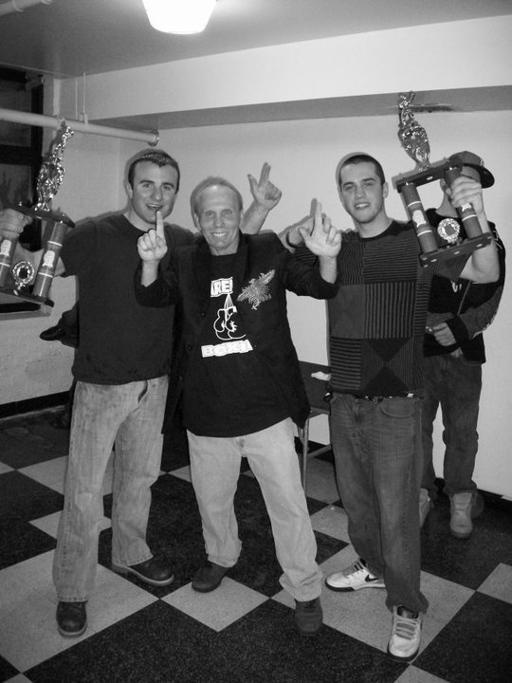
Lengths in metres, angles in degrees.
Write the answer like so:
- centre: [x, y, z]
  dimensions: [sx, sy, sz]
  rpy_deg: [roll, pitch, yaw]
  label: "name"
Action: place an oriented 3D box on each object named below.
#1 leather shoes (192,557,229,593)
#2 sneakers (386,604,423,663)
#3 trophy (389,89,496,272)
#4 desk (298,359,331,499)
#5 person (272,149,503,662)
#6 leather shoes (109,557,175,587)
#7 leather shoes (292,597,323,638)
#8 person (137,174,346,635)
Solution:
- centre: [-0.163, 0.870, 2.037]
  dimensions: [0.058, 0.061, 0.149]
  rpy_deg: [16, 0, 20]
  label: "leather shoes"
- centre: [0.468, 0.896, 1.718]
  dimensions: [0.094, 0.109, 0.191]
  rpy_deg: [4, 7, 21]
  label: "sneakers"
- centre: [0.458, -0.444, 1.473]
  dimensions: [0.175, 0.544, 0.069]
  rpy_deg: [-15, -26, 9]
  label: "trophy"
- centre: [0.309, 0.473, 2.797]
  dimensions: [0.218, 0.683, 0.254]
  rpy_deg: [3, 16, -9]
  label: "desk"
- centre: [0.397, 0.175, 1.787]
  dimensions: [0.345, 1.547, 0.437]
  rpy_deg: [2, 6, 7]
  label: "person"
- centre: [-0.391, 0.849, 2.088]
  dimensions: [0.236, 0.081, 0.116]
  rpy_deg: [2, 7, 6]
  label: "leather shoes"
- centre: [0.173, 0.894, 1.774]
  dimensions: [0.056, 0.072, 0.113]
  rpy_deg: [-2, 6, 1]
  label: "leather shoes"
- centre: [-0.027, 0.212, 1.776]
  dimensions: [0.623, 1.472, 0.472]
  rpy_deg: [2, 11, 17]
  label: "person"
